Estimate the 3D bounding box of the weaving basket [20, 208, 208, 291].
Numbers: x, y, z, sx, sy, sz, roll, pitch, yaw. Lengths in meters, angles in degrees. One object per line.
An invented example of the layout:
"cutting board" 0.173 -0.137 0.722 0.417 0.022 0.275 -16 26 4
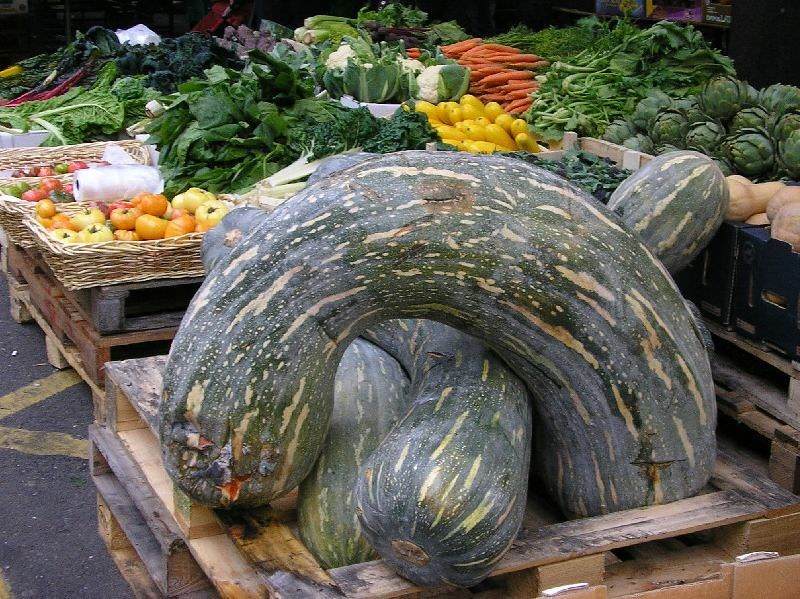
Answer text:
"weaving basket" -1.816 -0.350 4.666 0.953 0.167 0.682 -6 15 -28
